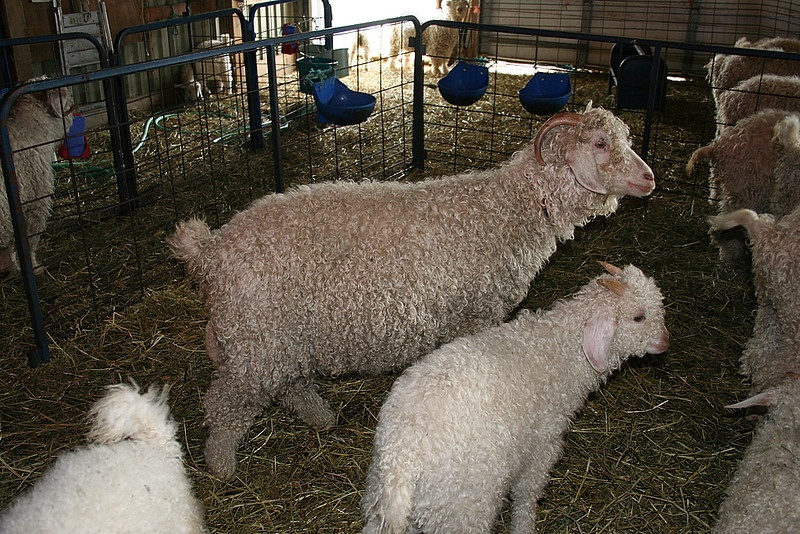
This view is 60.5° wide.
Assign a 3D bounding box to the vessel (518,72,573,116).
[{"bbox_3d":[1.488,-1.762,7.018,0.483,0.335,0.563,17,45,29],"label":"vessel"}]

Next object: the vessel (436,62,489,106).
[{"bbox_3d":[0.685,-2.020,7.795,0.573,0.328,0.694,15,-1,-5],"label":"vessel"}]

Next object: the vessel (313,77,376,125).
[{"bbox_3d":[-0.537,-1.582,6.599,0.602,0.337,0.502,22,39,28],"label":"vessel"}]
